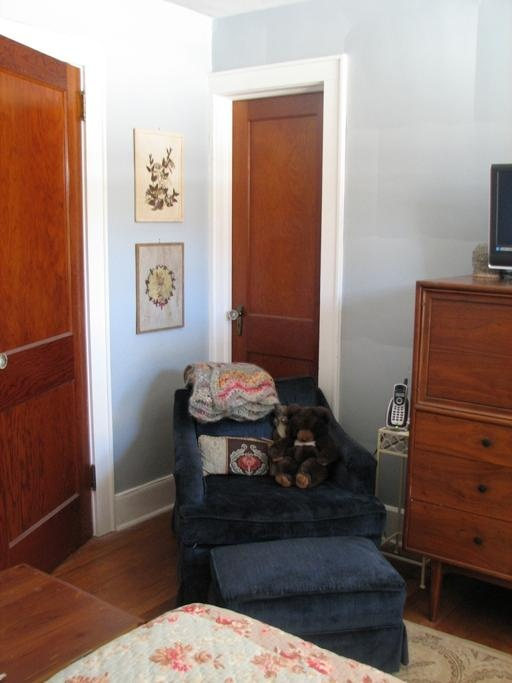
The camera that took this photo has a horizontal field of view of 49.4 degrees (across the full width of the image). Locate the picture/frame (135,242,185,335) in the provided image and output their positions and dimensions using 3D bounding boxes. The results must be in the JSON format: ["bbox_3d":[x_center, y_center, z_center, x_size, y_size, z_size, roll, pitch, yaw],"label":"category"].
[{"bbox_3d":[-0.517,-0.289,2.911,0.033,0.517,0.418,9,14,28],"label":"picture/frame"}]

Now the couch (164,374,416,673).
[{"bbox_3d":[0.070,0.679,2.218,0.746,0.813,1.208,1,4,-5],"label":"couch"}]

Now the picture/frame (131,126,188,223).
[{"bbox_3d":[-0.508,-0.858,2.832,0.037,0.579,0.484,8,11,30],"label":"picture/frame"}]

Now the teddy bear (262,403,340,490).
[{"bbox_3d":[0.207,0.460,2.429,0.280,0.356,0.302,-2,-20,13],"label":"teddy bear"}]
